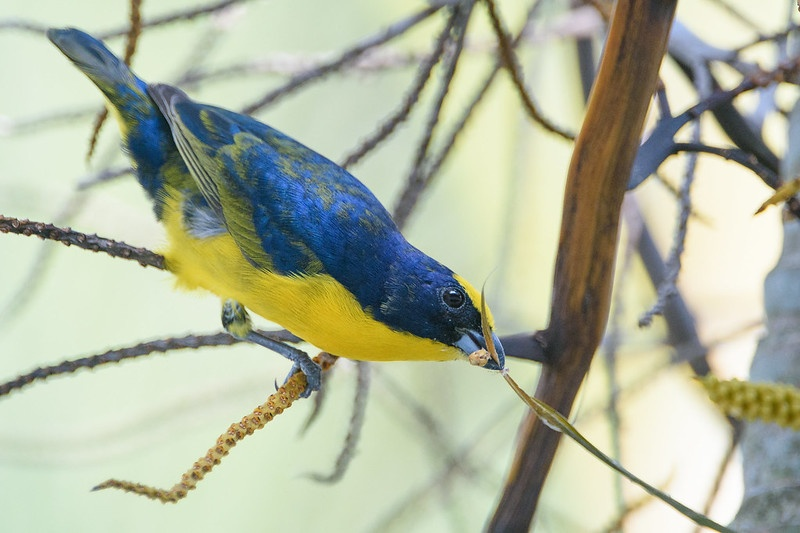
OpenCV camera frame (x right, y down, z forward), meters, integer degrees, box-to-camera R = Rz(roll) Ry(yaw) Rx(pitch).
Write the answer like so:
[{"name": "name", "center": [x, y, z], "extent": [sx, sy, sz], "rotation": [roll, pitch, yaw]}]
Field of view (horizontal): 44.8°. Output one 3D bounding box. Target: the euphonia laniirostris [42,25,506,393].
[{"name": "euphonia laniirostris", "center": [-0.376, -0.208, 3.346], "extent": [1.524, 0.439, 0.558], "rotation": [42, -75, 1]}]
